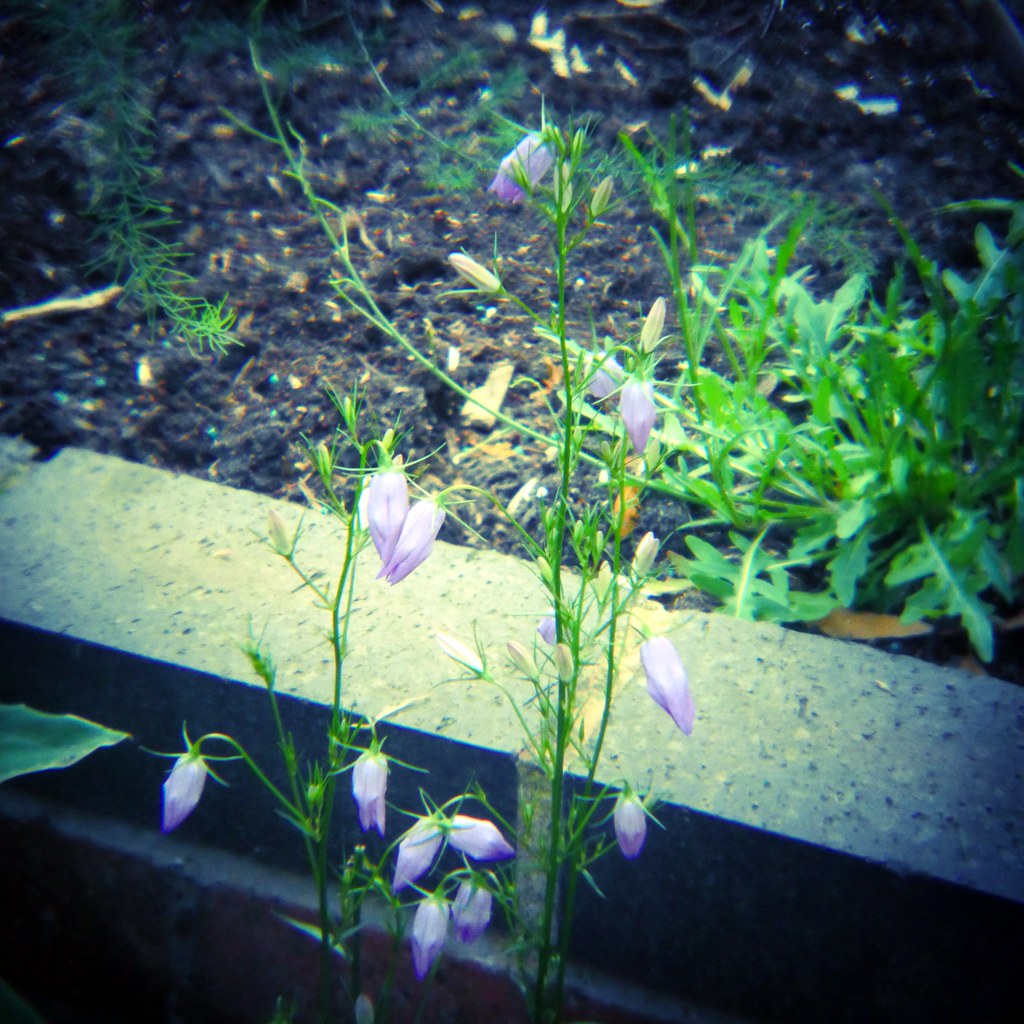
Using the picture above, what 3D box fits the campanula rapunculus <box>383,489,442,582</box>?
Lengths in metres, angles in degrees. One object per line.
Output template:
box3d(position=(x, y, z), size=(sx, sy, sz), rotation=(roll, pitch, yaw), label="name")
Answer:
box3d(position=(-0.114, 0.030, 1.165), size=(0.058, 0.111, 0.037), rotation=(34, 5, 17), label="campanula rapunculus")

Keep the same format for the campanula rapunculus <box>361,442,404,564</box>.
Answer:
box3d(position=(-0.157, 0.006, 1.110), size=(0.054, 0.131, 0.041), rotation=(8, 18, -4), label="campanula rapunculus")

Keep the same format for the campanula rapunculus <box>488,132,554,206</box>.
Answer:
box3d(position=(0.011, -0.438, 1.146), size=(0.089, 0.042, 0.055), rotation=(24, -16, -31), label="campanula rapunculus")

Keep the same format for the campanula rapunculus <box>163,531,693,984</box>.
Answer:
box3d(position=(-0.044, 0.323, 1.432), size=(0.730, 0.789, 0.535), rotation=(4, 3, 10), label="campanula rapunculus")
